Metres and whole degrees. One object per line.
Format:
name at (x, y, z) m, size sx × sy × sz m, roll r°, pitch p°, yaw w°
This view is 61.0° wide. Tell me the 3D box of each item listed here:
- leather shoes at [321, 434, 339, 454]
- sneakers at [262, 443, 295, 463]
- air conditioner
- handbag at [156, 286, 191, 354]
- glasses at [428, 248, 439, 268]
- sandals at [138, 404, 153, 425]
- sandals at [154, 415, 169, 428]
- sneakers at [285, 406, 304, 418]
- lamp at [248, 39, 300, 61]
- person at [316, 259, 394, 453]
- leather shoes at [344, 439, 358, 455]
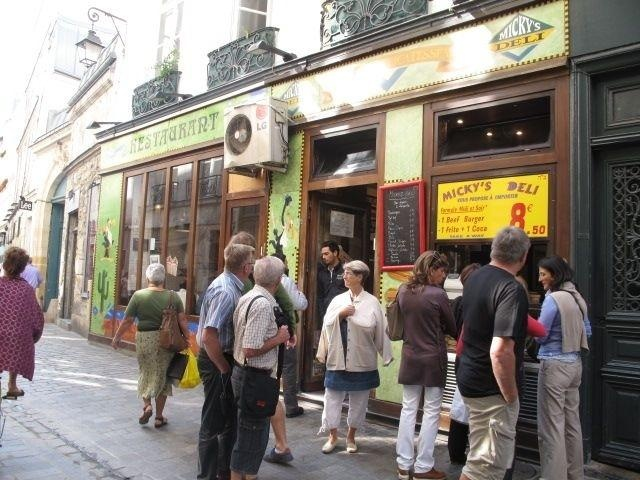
leather shoes at (0.105, 2.272, 6.070) m, size 0.097 × 0.119 × 0.272 m, roll -6°, pitch -6°, yaw 21°
sneakers at (-0.446, 2.250, 5.754) m, size 0.312 × 0.156 × 0.131 m, roll 0°, pitch -5°, yaw 16°
air conditioner at (-1.086, -1.632, 8.675) m, size 1.126 × 1.100 × 0.496 m, roll -5°, pitch -7°, yaw 38°
handbag at (-1.808, 1.024, 6.708) m, size 0.351 × 0.748 × 0.321 m, roll 1°, pitch -3°, yaw -2°
glasses at (1.176, 0.185, 5.613) m, size 0.040 × 0.140 × 0.142 m, roll 29°, pitch 35°, yaw 4°
sandals at (-2.185, 2.190, 6.738) m, size 0.130 × 0.311 × 0.132 m, roll 12°, pitch 29°, yaw -36°
sandals at (-1.974, 2.245, 6.736) m, size 0.079 × 0.091 × 0.206 m, roll 1°, pitch 1°, yaw 7°
sneakers at (-0.344, 2.276, 7.225) m, size 0.089 × 0.122 × 0.271 m, roll 2°, pitch 1°, yaw 39°
lamp at (-0.774, -2.941, 8.534) m, size 0.386 × 0.196 × 0.710 m, roll 5°, pitch -8°, yaw 41°
person at (0.373, 1.294, 6.119) m, size 0.831 × 2.114 × 0.478 m, roll 1°, pitch -3°, yaw 6°
leather shoes at (0.351, 2.290, 6.110) m, size 0.128 × 0.129 × 0.273 m, roll 1°, pitch -2°, yaw 3°
